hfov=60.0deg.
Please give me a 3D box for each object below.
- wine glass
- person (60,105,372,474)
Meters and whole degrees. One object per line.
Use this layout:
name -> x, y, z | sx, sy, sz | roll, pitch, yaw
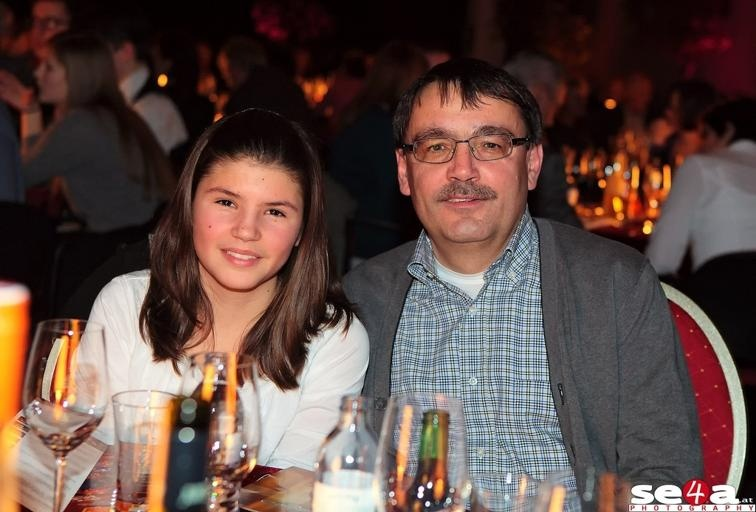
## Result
wine glass -> -0.748, 0.375, 1.584 | 0.190, 0.442, 0.248 | 6, -13, -12
person -> -0.533, 0.256, 2.319 | 1.076, 1.439, 0.842 | 9, 14, -2
